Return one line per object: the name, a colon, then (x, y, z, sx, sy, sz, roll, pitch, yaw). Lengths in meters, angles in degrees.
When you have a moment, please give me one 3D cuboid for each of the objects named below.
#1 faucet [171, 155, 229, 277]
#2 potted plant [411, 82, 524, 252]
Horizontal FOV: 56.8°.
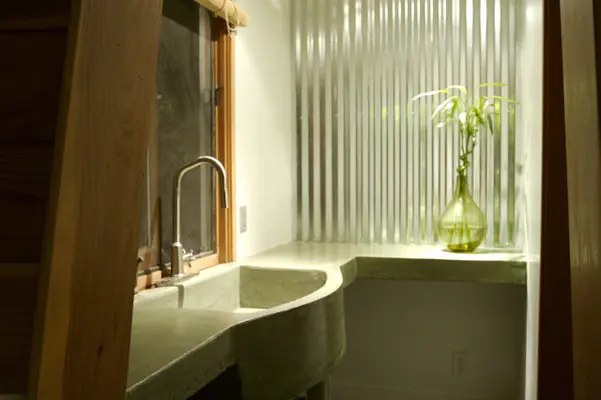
faucet: (-0.375, 0.046, 2.013, 0.188, 0.441, 0.358, 0, -4, -16)
potted plant: (0.798, -0.139, 2.694, 0.523, 0.826, 0.546, 6, -9, -14)
